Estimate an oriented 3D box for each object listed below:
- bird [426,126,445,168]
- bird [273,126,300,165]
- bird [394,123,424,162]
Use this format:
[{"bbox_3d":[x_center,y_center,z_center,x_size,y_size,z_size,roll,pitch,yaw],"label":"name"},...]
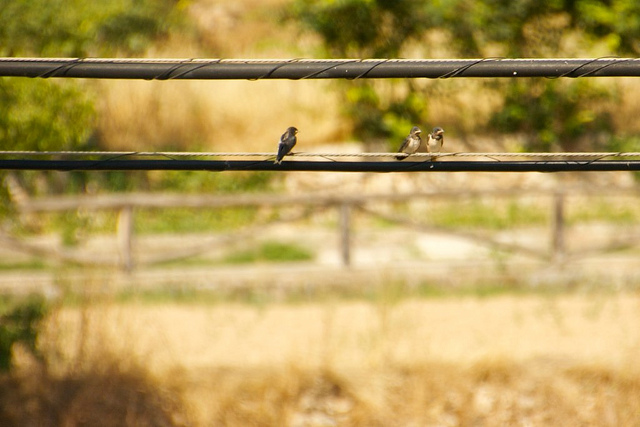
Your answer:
[{"bbox_3d":[2.766,-1.740,47.682,0.406,1.308,0.623,1,83,-10],"label":"bird"},{"bbox_3d":[-0.750,-1.646,46.653,0.337,0.453,1.072,13,47,26],"label":"bird"},{"bbox_3d":[2.194,-1.769,47.691,0.454,0.811,0.881,-5,8,-38],"label":"bird"}]
